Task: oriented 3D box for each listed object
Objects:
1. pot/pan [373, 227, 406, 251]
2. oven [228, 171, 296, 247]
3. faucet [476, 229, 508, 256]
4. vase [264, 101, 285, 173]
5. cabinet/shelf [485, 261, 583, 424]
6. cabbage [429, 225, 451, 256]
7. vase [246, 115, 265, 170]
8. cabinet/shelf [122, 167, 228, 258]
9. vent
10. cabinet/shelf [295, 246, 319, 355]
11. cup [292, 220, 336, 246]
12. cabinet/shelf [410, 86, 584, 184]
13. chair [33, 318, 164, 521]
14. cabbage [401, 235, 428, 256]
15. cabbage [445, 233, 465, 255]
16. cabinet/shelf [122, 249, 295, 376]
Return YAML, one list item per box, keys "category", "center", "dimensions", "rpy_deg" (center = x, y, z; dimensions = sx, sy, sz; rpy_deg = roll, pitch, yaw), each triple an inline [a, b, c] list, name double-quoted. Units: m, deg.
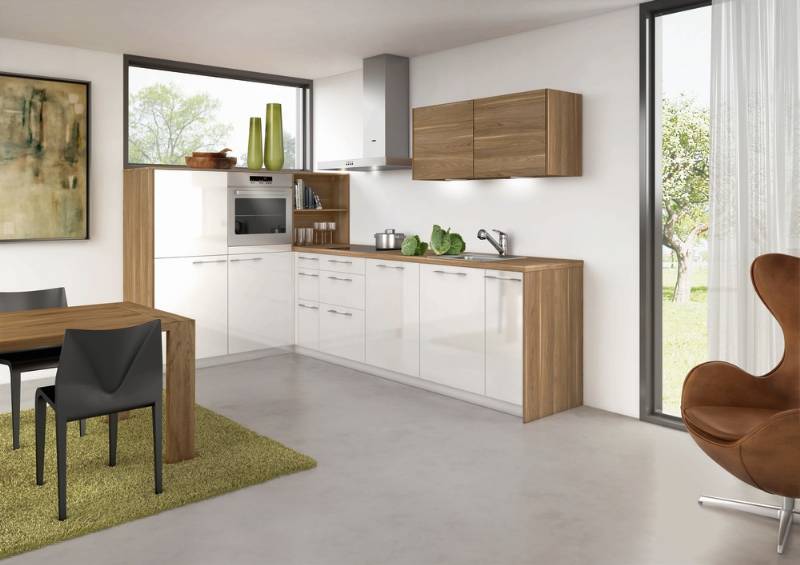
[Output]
- category: "pot/pan"
  center: [-0.117, -0.433, 6.186]
  dimensions: [0.228, 0.181, 0.263]
  rpy_deg: [2, -2, -41]
- category: "oven"
  center: [-1.628, -0.797, 6.531]
  dimensions: [0.796, 0.831, 0.588]
  rpy_deg: [-5, 11, -38]
- category: "faucet"
  center: [0.852, -0.375, 5.430]
  dimensions: [0.263, 0.234, 0.384]
  rpy_deg: [2, 10, 11]
- category: "vase"
  center: [-1.402, -1.619, 6.593]
  dimensions: [0.202, 0.738, 0.253]
  rpy_deg: [-2, 10, -13]
- category: "cabinet/shelf"
  center: [1.218, 0.449, 4.858]
  dimensions: [0.801, 1.232, 0.246]
  rpy_deg: [-7, 13, -38]
- category: "cabbage"
  center: [0.367, -0.384, 5.449]
  dimensions: [0.190, 0.261, 0.068]
  rpy_deg: [2, -2, 5]
- category: "vase"
  center: [-1.580, -1.533, 6.550]
  dimensions: [0.217, 0.569, 0.255]
  rpy_deg: [-5, 11, -27]
- category: "cabinet/shelf"
  center: [-2.244, -0.706, 5.871]
  dimensions: [0.877, 0.995, 0.526]
  rpy_deg: [-2, 6, -38]
- category: "vent"
  center: [-0.387, -1.790, 6.339]
  dimensions: [0.622, 1.154, 1.150]
  rpy_deg: [-8, 13, -41]
- category: "cabinet/shelf"
  center: [-0.991, 0.190, 6.441]
  dimensions: [0.131, 1.000, 0.449]
  rpy_deg: [-7, 12, -36]
- category: "cup"
  center: [-0.952, -0.567, 6.861]
  dimensions: [0.579, 0.248, 0.302]
  rpy_deg: [-5, 11, -26]
- category: "cabinet/shelf"
  center: [0.862, -1.237, 5.059]
  dimensions: [0.310, 0.452, 1.023]
  rpy_deg: [-2, 3, -45]
- category: "chair"
  center: [-1.789, 0.725, 3.553]
  dimensions: [0.698, 1.028, 0.606]
  rpy_deg: [-6, 12, -33]
- category: "cabbage"
  center: [0.142, -0.354, 5.647]
  dimensions: [0.200, 0.210, 0.092]
  rpy_deg: [-6, -9, 28]
- category: "cabbage"
  center: [0.517, -0.356, 5.489]
  dimensions: [0.186, 0.181, 0.044]
  rpy_deg: [-9, 2, -26]
- category: "cabinet/shelf"
  center: [-1.799, 0.251, 5.534]
  dimensions: [1.297, 0.943, 0.491]
  rpy_deg: [-1, 1, -37]
